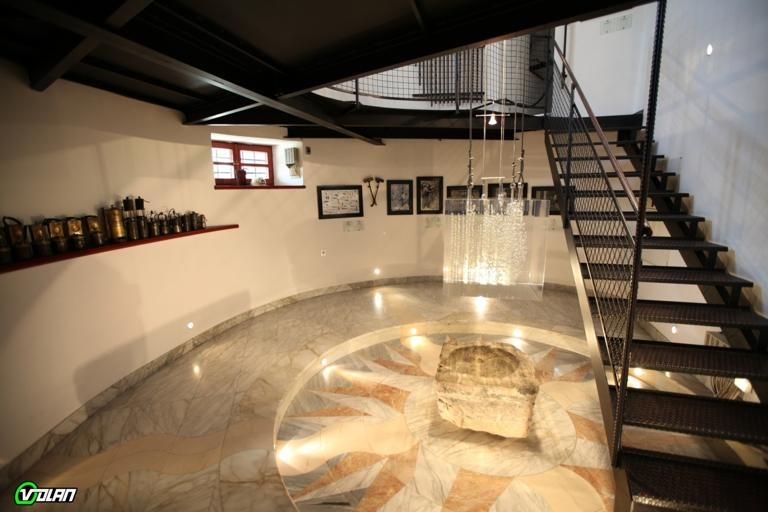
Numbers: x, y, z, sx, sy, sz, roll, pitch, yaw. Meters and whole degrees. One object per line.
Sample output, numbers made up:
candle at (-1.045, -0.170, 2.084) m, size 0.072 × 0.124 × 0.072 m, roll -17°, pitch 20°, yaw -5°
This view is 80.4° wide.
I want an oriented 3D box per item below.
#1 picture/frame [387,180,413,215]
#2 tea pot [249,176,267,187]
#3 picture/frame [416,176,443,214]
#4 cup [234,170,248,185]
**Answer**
picture/frame at (0.323, -1.323, 10.046) m, size 0.683 × 0.915 × 0.069 m, roll -2°, pitch 9°, yaw -14°
tea pot at (-2.386, -1.403, 8.635) m, size 0.278 × 0.194 × 0.286 m, roll 1°, pitch 12°, yaw 0°
picture/frame at (1.002, -1.394, 10.146) m, size 0.751 × 1.061 × 0.043 m, roll -2°, pitch 10°, yaw -10°
cup at (-2.639, -1.474, 8.467) m, size 0.110 × 0.277 × 0.229 m, roll 2°, pitch 2°, yaw 43°
